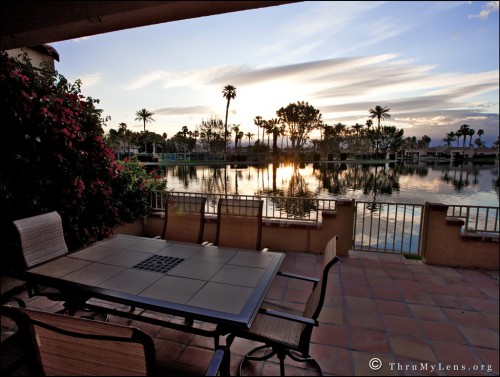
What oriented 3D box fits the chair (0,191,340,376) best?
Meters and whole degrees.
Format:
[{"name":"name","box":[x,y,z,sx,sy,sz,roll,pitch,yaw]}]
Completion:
[{"name":"chair","box":[-0.706,0.887,3.060,2.656,1.336,1.658,5,14,19]}]
